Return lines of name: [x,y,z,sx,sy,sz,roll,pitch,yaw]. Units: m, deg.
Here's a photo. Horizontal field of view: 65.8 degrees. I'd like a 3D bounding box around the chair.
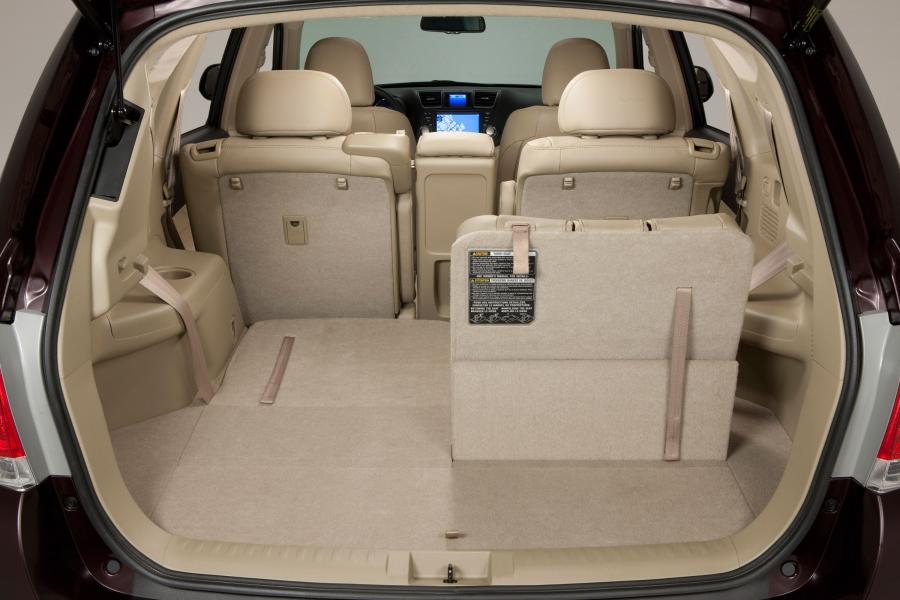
chair: [0.307,-0.097,3.054,1.812,1.233,1.770,1,27,2]
